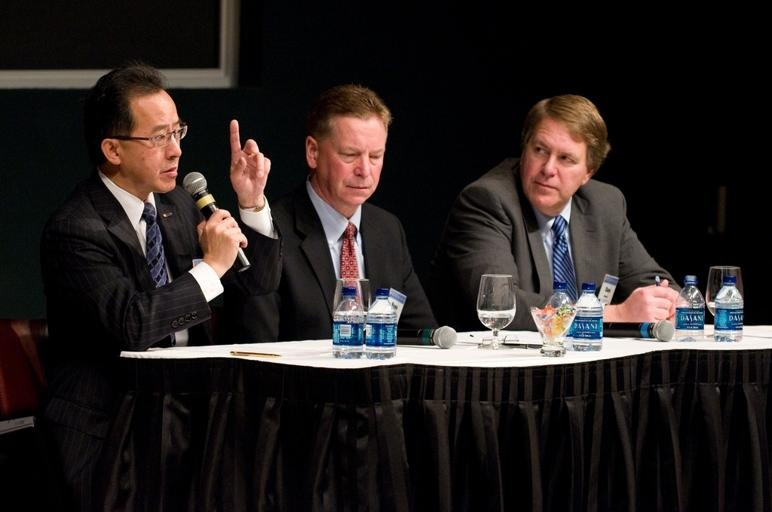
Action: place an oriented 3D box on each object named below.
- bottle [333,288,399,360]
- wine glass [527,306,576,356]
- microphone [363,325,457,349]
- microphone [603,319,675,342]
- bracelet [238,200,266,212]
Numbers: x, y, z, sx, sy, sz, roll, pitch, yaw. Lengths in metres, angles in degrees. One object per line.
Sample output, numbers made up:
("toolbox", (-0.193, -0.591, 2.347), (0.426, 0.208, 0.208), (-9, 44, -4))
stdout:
("bottle", (-0.082, 0.227, 2.429), (0.229, 0.253, 0.165), (-1, 2, 24))
("wine glass", (0.595, 0.286, 2.568), (0.174, 0.180, 0.171), (1, -8, 0))
("microphone", (0.107, 0.314, 2.648), (0.262, 0.086, 0.085), (-2, 11, 26))
("microphone", (1.028, 0.288, 2.875), (0.304, 0.099, 0.110), (-1, -24, 42))
("bracelet", (-0.596, -0.220, 3.044), (0.067, 0.027, 0.068), (21, 45, 10))
